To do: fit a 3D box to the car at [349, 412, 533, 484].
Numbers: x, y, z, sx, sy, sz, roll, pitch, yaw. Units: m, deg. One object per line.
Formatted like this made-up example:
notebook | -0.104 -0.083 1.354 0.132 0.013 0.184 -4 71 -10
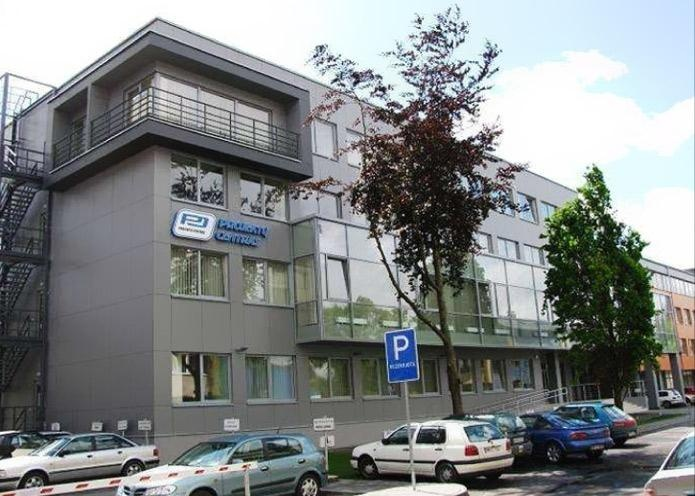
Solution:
car | 2.651 6.094 16.873 4.250 1.682 1.656 -15 -20 27
